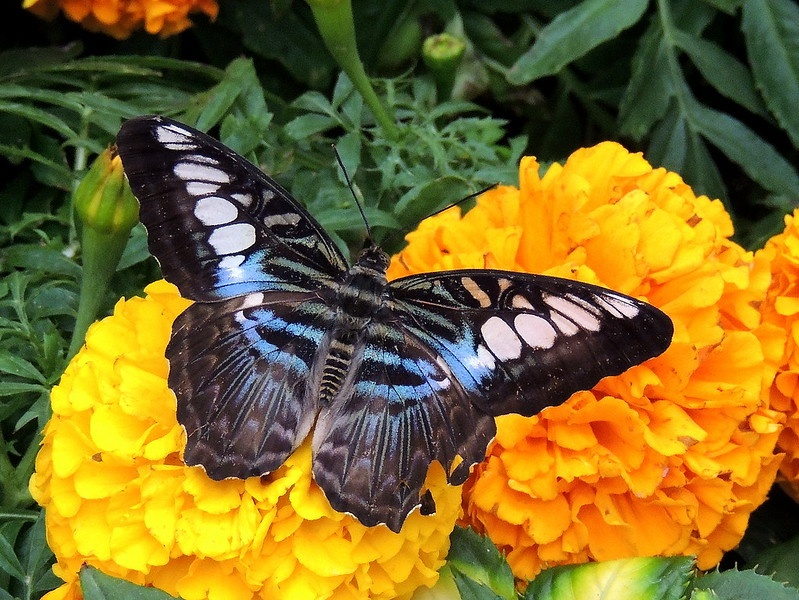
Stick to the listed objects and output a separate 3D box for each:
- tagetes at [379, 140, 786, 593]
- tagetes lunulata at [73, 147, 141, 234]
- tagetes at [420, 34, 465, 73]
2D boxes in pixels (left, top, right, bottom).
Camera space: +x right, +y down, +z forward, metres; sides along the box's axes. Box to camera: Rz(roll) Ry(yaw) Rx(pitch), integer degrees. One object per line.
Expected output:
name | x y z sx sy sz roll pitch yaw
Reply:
tagetes | 0.274 0.095 1.307 0.523 0.522 0.313 35 6 3
tagetes lunulata | -0.375 -0.137 1.112 0.061 0.060 0.154 24 -35 5
tagetes | 0.067 -0.388 1.343 0.064 0.065 0.050 0 5 -15
